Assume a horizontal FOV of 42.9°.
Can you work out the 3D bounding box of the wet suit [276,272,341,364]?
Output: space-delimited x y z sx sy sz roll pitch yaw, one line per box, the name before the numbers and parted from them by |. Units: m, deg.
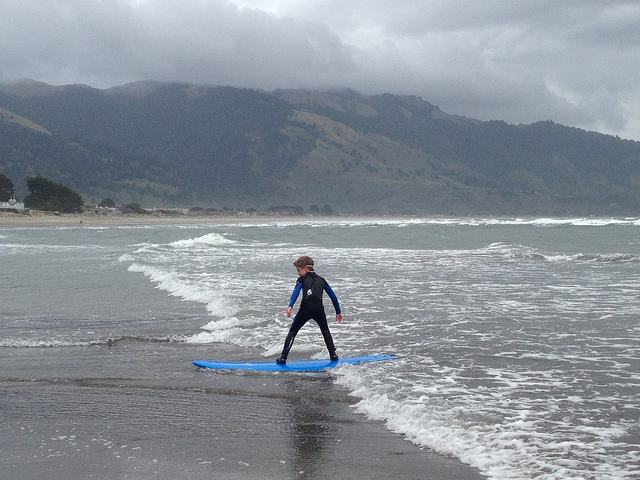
wet suit | -0.223 1.817 19.036 1.422 2.161 0.575 -3 13 -14
